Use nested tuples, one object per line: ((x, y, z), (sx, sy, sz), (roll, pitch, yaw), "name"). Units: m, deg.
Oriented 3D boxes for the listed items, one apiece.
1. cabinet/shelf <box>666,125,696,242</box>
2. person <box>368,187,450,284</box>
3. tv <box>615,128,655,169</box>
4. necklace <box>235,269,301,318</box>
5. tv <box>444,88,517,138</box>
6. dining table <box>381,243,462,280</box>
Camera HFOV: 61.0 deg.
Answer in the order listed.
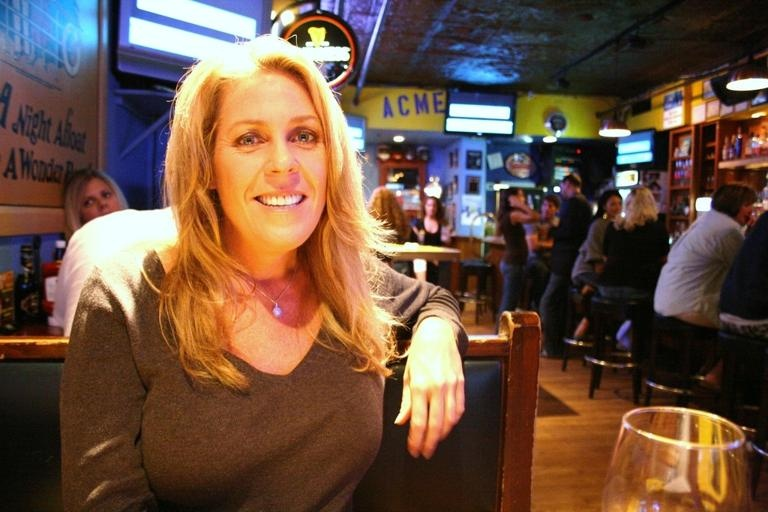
((3.999, -1.119, 8.746), (0.151, 1.249, 0.285), (8, -7, -44), "cabinet/shelf")
((0.314, -0.229, 7.562), (1.024, 1.405, 1.121), (-1, -4, -10), "person")
((3.660, -1.590, 9.626), (0.777, 0.531, 0.085), (-10, 15, -23), "tv")
((-0.403, 0.127, 2.318), (0.232, 0.069, 0.152), (-6, 49, -39), "necklace")
((1.401, -2.120, 9.512), (0.803, 0.476, 0.107), (4, -12, -2), "tv")
((0.376, 0.011, 6.032), (0.471, 0.458, 0.465), (0, -1, -3), "dining table")
